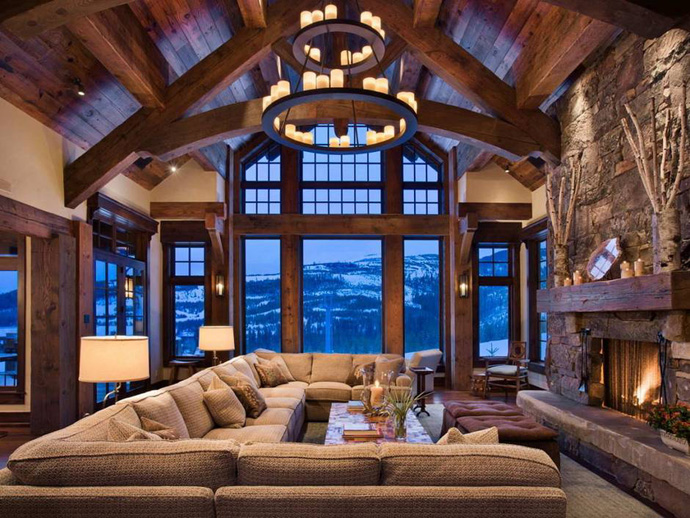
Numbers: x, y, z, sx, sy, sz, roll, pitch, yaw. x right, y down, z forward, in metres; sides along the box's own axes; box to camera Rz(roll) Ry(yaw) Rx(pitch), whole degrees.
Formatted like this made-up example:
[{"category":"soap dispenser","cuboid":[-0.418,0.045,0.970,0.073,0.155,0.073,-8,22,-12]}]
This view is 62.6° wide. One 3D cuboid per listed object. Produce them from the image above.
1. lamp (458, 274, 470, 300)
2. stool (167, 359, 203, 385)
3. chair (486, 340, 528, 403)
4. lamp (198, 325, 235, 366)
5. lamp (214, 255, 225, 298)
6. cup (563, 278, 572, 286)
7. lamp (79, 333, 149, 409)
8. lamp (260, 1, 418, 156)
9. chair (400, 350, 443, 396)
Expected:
[{"category":"lamp","cuboid":[2.060,0.477,9.873,0.208,0.413,0.091,-5,-8,15]},{"category":"stool","cuboid":[-2.825,1.930,9.869,0.474,0.691,0.502,0,-7,-5]},{"category":"chair","cuboid":[2.659,1.797,9.344,0.653,0.980,0.642,-2,-7,37]},{"category":"lamp","cuboid":[-1.572,1.166,6.945,0.419,0.665,0.426,0,-6,-31]},{"category":"lamp","cuboid":[-2.190,0.340,9.952,0.175,0.667,0.109,0,-8,-18]},{"category":"cup","cuboid":[2.669,0.282,6.837,0.085,0.106,0.084,2,1,0]},{"category":"lamp","cuboid":[-1.849,0.914,4.759,0.423,0.759,0.455,0,-1,10]},{"category":"lamp","cuboid":[-0.073,-2.224,6.805,1.556,1.898,1.692,-4,-27,9]},{"category":"chair","cuboid":[1.195,1.664,8.555,0.628,0.898,0.784,1,-3,-10]}]
